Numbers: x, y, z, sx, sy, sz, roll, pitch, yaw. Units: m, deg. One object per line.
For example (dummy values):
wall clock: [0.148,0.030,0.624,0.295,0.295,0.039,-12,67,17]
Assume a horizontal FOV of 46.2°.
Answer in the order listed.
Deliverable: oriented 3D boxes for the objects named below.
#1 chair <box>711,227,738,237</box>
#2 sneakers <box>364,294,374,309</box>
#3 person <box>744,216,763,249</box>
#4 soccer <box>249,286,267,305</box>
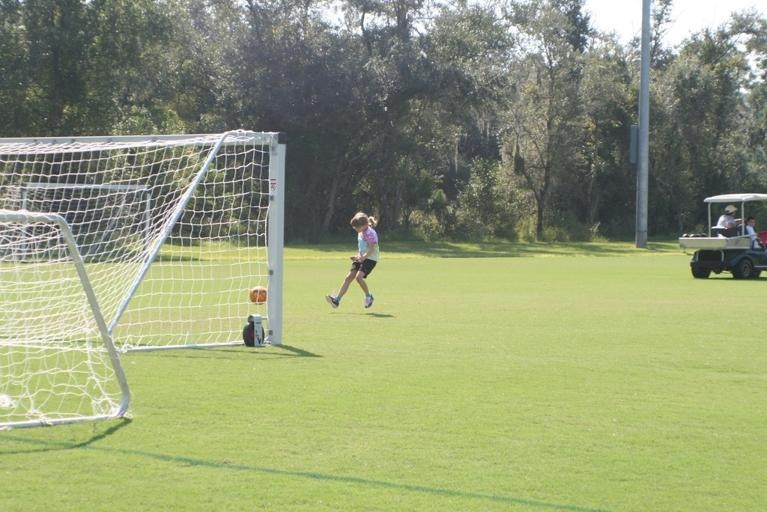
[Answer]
chair: [9.094,-0.649,23.893,0.506,0.248,0.820,0,7,-1]
sneakers: [-0.281,0.926,17.765,0.164,0.357,0.124,-8,37,-15]
person: [9.883,-0.626,24.028,0.374,0.853,0.992,5,8,36]
soccer: [-2.136,0.662,15.216,0.292,0.300,0.299,-1,3,11]
